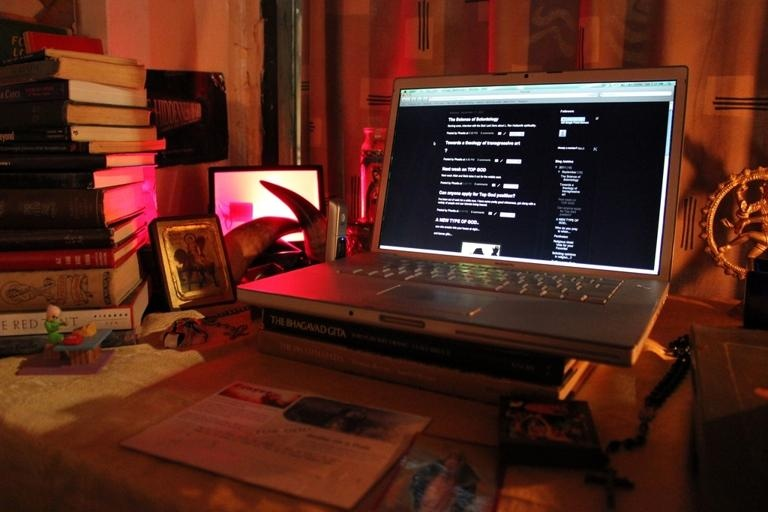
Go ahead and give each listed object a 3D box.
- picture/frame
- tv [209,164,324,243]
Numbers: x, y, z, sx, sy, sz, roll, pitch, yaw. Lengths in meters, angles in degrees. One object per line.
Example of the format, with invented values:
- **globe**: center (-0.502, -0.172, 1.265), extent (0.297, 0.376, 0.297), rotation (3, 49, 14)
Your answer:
- **picture/frame**: center (-0.405, 0.014, 1.192), extent (0.187, 0.188, 0.057), rotation (-9, -3, -34)
- **tv**: center (-0.292, -0.121, 1.353), extent (0.199, 0.134, 0.019), rotation (-2, -3, -14)
